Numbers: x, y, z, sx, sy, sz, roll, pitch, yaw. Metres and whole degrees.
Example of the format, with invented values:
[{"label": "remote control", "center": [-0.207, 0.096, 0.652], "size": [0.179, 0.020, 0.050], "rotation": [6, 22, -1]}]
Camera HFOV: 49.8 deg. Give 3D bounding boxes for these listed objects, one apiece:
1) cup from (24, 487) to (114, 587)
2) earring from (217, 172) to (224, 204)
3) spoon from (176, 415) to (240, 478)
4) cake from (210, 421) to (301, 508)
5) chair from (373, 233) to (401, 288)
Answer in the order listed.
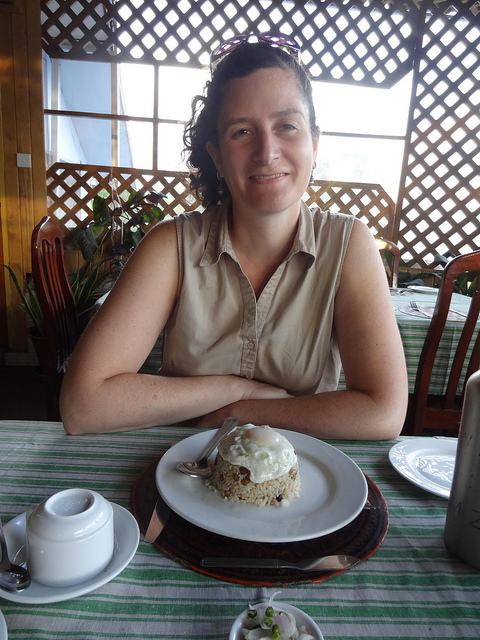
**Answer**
[{"label": "cup", "center": [-0.150, 0.178, 0.457], "size": [0.061, 0.052, 0.080], "rotation": [-2, 8, -38]}, {"label": "earring", "center": [-0.046, -0.313, 1.230], "size": [0.023, 0.067, 0.013], "rotation": [-8, 15, -40]}, {"label": "spoon", "center": [-0.042, 0.155, 0.648], "size": [0.025, 0.017, 0.124], "rotation": [3, 13, 14]}, {"label": "cake", "center": [0.023, 0.158, 0.623], "size": [0.116, 0.055, 0.153], "rotation": [6, 13, 8]}, {"label": "chair", "center": [0.836, -0.334, 2.887], "size": [0.187, 0.269, 0.180], "rotation": [14, 5, 6]}]
